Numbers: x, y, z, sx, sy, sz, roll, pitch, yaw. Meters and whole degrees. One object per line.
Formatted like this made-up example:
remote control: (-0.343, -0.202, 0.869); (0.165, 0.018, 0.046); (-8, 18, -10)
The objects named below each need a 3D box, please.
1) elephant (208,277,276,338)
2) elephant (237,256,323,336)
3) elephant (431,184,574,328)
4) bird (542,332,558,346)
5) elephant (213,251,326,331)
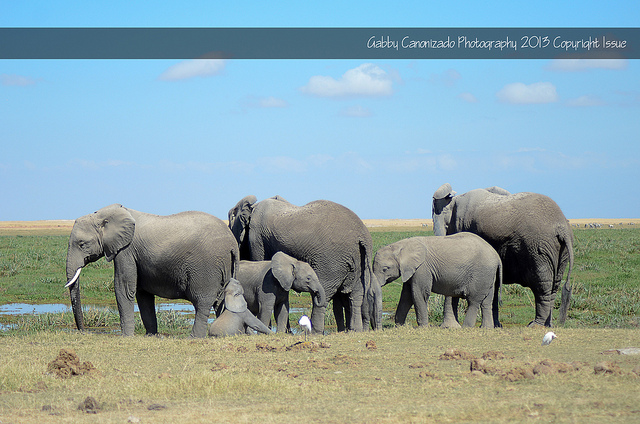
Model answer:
elephant: (-2.329, 2.758, 34.333); (1.633, 1.630, 0.806); (-1, 1, -9)
elephant: (-0.872, 2.511, 36.232); (3.187, 2.352, 2.139); (-3, -9, 22)
elephant: (5.424, 1.438, 36.303); (3.326, 4.155, 5.664); (3, -3, -30)
bird: (6.130, 3.432, 32.330); (0.340, 0.324, 0.601); (-1, 1, 12)
elephant: (-1.309, 1.977, 35.103); (4.647, 2.603, 2.554); (-2, -7, 12)
